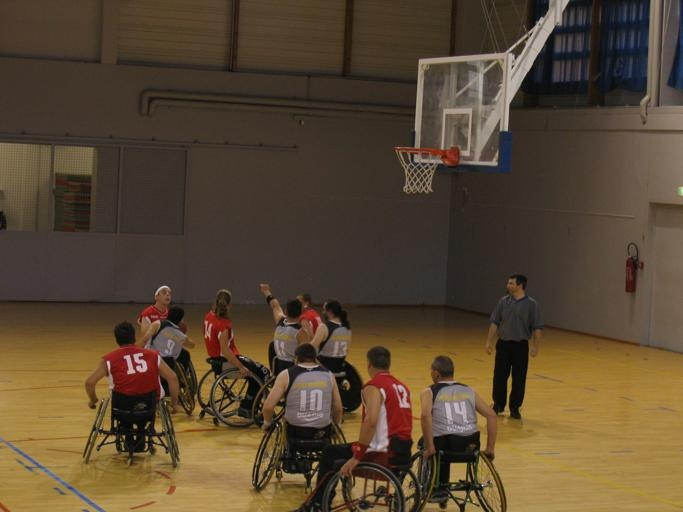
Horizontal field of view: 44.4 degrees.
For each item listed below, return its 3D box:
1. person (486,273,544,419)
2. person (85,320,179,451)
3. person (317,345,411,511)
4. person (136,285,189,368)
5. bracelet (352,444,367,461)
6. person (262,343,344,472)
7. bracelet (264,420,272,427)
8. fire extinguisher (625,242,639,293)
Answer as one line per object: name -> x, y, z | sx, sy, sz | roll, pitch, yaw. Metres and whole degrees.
person -> 2.562, 1.324, 12.216 | 0.774, 2.103, 0.502 | 3, 6, 7
person -> -2.463, 1.550, 9.683 | 1.026, 1.502, 0.429 | 1, 6, -13
person -> 0.268, 1.721, 8.486 | 0.952, 1.529, 0.545 | -2, 7, -33
person -> -2.466, 1.104, 11.530 | 0.660, 1.342, 0.652 | 1, -1, 40
bracelet -> 0.181, 1.940, 8.172 | 0.125, 0.166, 0.154 | 2, -10, 5
person -> -0.395, 1.552, 9.133 | 0.972, 1.857, 0.997 | -1, 13, -7
bracelet -> -0.805, 1.798, 8.924 | 0.078, 0.093, 0.082 | 6, 17, 2
fire extinguisher -> 6.297, 0.271, 17.766 | 0.314, 1.104, 0.255 | 7, 8, 39
